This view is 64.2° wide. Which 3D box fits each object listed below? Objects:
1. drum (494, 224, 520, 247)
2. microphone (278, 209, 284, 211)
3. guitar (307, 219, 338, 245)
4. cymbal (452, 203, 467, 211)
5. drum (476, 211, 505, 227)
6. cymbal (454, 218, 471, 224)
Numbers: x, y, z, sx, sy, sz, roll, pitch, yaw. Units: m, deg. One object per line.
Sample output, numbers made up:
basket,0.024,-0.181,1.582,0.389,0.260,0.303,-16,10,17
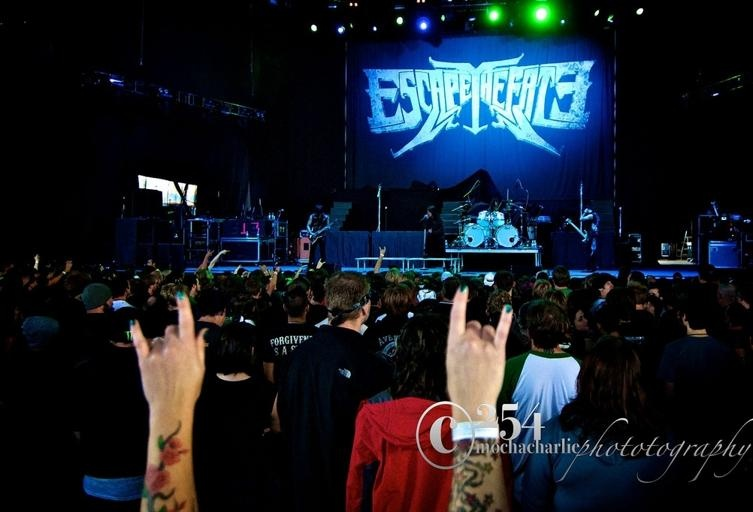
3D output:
drum,3.312,-0.506,15.305,0.563,0.574,0.267,1,0,10
microphone,-3.642,-1.754,22.899,0.264,0.068,0.273,0,2,39
guitar,-1.532,-0.714,17.694,0.973,0.137,0.505,-36,61,-25
cymbal,2.468,-1.436,17.642,0.337,0.247,0.616,1,0,-12
drum,3.005,-0.964,15.669,0.722,0.421,0.576,1,0,9
cymbal,2.430,-0.980,16.874,0.252,0.171,0.413,0,3,20
